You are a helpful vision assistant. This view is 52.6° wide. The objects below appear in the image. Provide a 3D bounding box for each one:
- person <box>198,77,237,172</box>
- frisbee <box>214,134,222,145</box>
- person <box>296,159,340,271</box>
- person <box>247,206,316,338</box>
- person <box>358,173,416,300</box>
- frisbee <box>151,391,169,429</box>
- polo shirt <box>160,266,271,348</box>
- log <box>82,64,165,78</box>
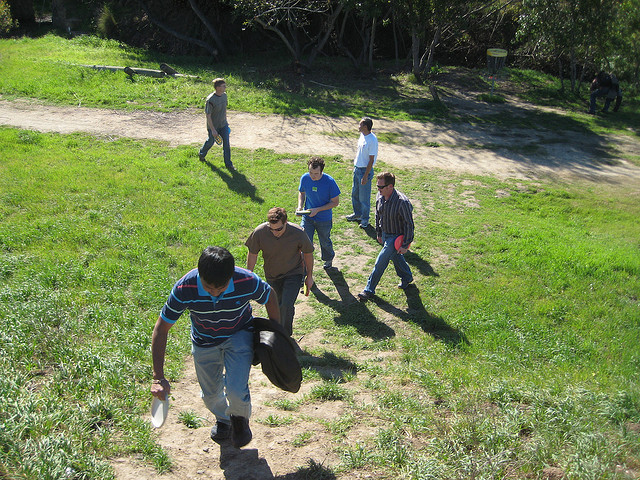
[{"bbox_3d":[-2.706,-3.120,17.307,1.101,2.376,0.918,8,21,9],"label":"person"},{"bbox_3d":[-2.752,-2.682,17.342,0.187,0.270,0.267,13,23,20],"label":"frisbee"},{"bbox_3d":[-0.161,-0.471,13.710,0.997,2.673,0.967,-18,36,-27],"label":"person"},{"bbox_3d":[-0.760,0.681,11.895,1.220,2.950,0.996,2,27,0],"label":"person"},{"bbox_3d":[1.455,-0.105,13.335,1.142,2.559,0.804,1,20,-9],"label":"person"},{"bbox_3d":[-2.402,2.512,9.602,0.249,0.530,0.354,1,21,-10],"label":"frisbee"},{"bbox_3d":[-1.610,1.083,10.013,1.180,1.038,0.582,-7,37,-11],"label":"polo shirt"},{"bbox_3d":[-7.434,-6.608,25.222,2.623,0.257,0.685,2,23,-10],"label":"log"}]
